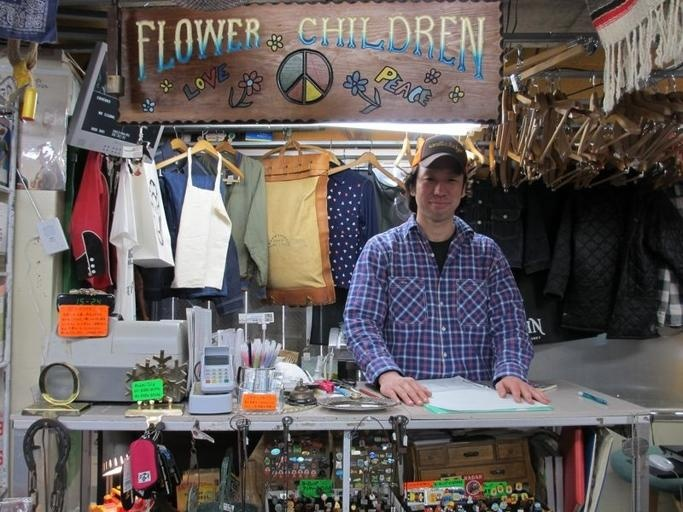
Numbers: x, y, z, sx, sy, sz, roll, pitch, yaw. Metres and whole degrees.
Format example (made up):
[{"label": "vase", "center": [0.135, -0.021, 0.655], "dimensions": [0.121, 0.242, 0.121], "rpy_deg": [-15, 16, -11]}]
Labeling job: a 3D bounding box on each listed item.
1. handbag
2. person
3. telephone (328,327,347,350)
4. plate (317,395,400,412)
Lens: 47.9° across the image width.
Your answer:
[{"label": "handbag", "center": [-1.069, -0.232, 4.237], "dimensions": [0.200, 0.510, 0.277], "rpy_deg": [-3, 2, 3]}, {"label": "person", "center": [0.379, 0.112, 3.983], "dimensions": [1.022, 1.598, 1.118], "rpy_deg": [0, -3, -6]}, {"label": "telephone", "center": [-0.035, 0.518, 4.869], "dimensions": [0.118, 0.177, 0.053], "rpy_deg": [2, -30, 6]}, {"label": "plate", "center": [0.067, 0.640, 3.319], "dimensions": [0.333, 0.042, 0.196], "rpy_deg": [-3, 1, 15]}]
